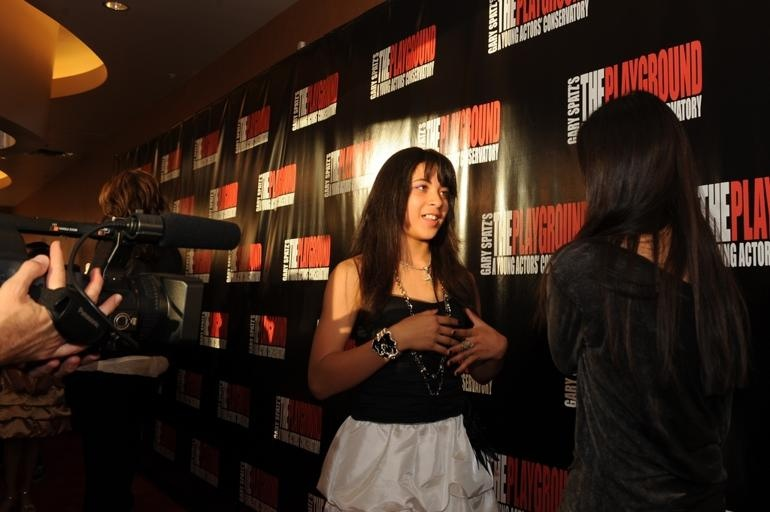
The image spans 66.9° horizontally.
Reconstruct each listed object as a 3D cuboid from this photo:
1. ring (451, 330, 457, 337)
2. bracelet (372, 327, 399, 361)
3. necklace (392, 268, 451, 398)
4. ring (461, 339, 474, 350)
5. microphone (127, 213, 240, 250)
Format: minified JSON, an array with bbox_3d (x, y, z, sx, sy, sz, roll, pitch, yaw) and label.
[{"bbox_3d":[0.280,0.308,2.324,0.020,0.029,0.007,-24,27,-24],"label":"ring"},{"bbox_3d":[0.006,0.339,2.266,0.107,0.114,0.034,2,-7,0],"label":"bracelet"},{"bbox_3d":[0.153,0.359,2.376,0.154,0.594,0.027,-1,-23,-24],"label":"necklace"},{"bbox_3d":[0.334,0.355,2.345,0.032,0.035,0.009,-1,-23,1],"label":"ring"},{"bbox_3d":[-0.664,-0.076,2.006,0.405,0.141,0.125,5,-17,-30],"label":"microphone"}]
